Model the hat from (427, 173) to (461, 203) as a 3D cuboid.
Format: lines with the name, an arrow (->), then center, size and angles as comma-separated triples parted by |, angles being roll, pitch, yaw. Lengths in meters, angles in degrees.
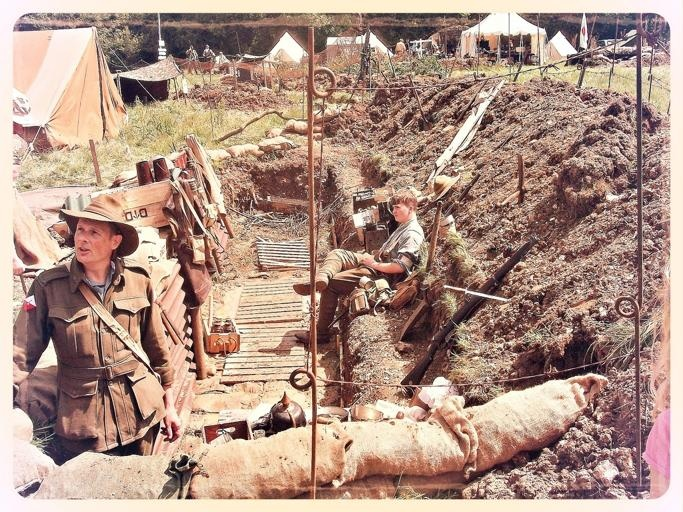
hat -> 1.626, -1.109, 11.548 | 0.174, 0.426, 0.478 | 35, -12, -13

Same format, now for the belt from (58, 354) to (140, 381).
belt -> -2.430, 1.144, 7.137 | 0.751, 0.185, 0.106 | -3, 16, -11

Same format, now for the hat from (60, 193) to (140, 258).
hat -> -2.387, -0.369, 7.178 | 0.729, 0.320, 0.572 | 32, -31, -33

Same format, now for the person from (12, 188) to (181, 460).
person -> -2.470, 0.689, 7.142 | 1.411, 2.498, 0.665 | -5, 16, -16

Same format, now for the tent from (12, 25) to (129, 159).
tent -> -5.482, -3.325, 14.078 | 1.928, 2.300, 0.943 | -9, 18, -28

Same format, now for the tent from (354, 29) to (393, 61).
tent -> 0.758, -5.080, 17.010 | 0.734, 0.583, 2.858 | 2, 16, 8

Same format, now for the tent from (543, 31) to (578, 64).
tent -> 4.225, -4.063, 13.760 | 0.566, 0.603, 1.086 | 4, 16, 15

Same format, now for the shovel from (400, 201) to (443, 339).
shovel -> 1.104, 0.191, 9.733 | 0.450, 1.961, 0.564 | 1, 20, -9
